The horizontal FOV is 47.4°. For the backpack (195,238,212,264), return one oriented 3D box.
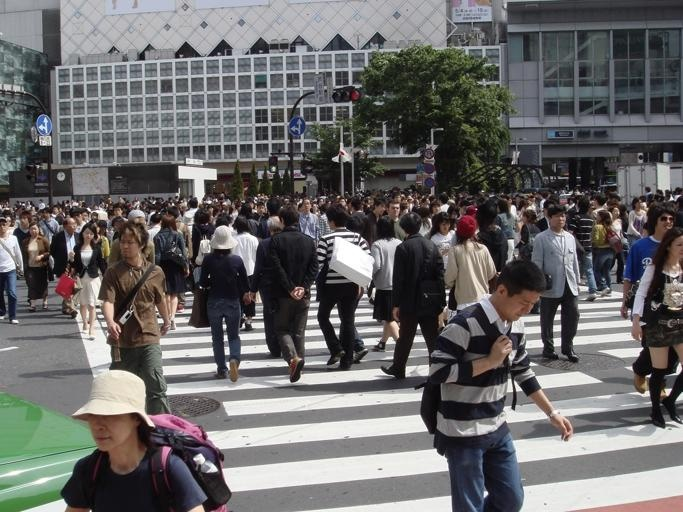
[{"bbox_3d":[-2.397,-0.096,13.466,0.220,0.435,0.357,8,18,-3],"label":"backpack"}]

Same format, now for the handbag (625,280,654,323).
[{"bbox_3d":[3.366,0.502,8.759,0.187,0.378,0.354,14,-32,-9],"label":"handbag"}]

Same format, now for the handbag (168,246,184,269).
[{"bbox_3d":[-2.831,0.043,13.420,0.138,0.337,0.264,-32,-11,-4],"label":"handbag"}]

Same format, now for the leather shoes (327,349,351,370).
[{"bbox_3d":[-0.049,1.504,11.153,0.162,0.224,0.496,18,-24,-17],"label":"leather shoes"}]

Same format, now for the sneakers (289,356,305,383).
[{"bbox_3d":[-0.583,1.466,10.076,0.130,0.413,0.169,-11,33,-36],"label":"sneakers"}]

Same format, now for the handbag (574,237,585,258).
[{"bbox_3d":[4.936,-0.193,16.077,0.142,0.435,0.297,-4,-7,-17],"label":"handbag"}]

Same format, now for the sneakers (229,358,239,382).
[{"bbox_3d":[-1.474,1.542,10.498,0.109,0.332,0.132,-3,10,0],"label":"sneakers"}]

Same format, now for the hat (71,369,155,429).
[{"bbox_3d":[-1.413,0.852,4.792,0.401,0.244,0.334,8,-8,-10],"label":"hat"}]

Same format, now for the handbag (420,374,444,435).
[{"bbox_3d":[0.654,1.100,5.797,0.141,0.351,0.238,2,14,-2],"label":"handbag"}]

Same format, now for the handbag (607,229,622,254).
[{"bbox_3d":[5.854,-0.299,16.693,0.176,0.489,0.355,-23,3,31],"label":"handbag"}]

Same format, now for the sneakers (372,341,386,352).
[{"bbox_3d":[0.552,1.409,12.150,0.252,0.193,0.098,5,-3,19],"label":"sneakers"}]

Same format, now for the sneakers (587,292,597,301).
[{"bbox_3d":[5.376,0.879,16.781,0.109,0.156,0.342,-1,10,-6],"label":"sneakers"}]

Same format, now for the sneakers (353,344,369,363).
[{"bbox_3d":[0.284,1.426,11.335,0.114,0.377,0.162,15,38,-11],"label":"sneakers"}]

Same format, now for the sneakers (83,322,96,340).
[{"bbox_3d":[-4.457,1.326,13.636,0.183,0.275,0.611,-1,0,-31],"label":"sneakers"}]

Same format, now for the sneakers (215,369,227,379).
[{"bbox_3d":[-1.667,1.640,10.767,0.108,0.083,0.143,1,-4,-40],"label":"sneakers"}]

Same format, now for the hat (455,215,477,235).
[{"bbox_3d":[1.558,-0.380,9.639,0.181,0.213,0.263,5,20,8],"label":"hat"}]
